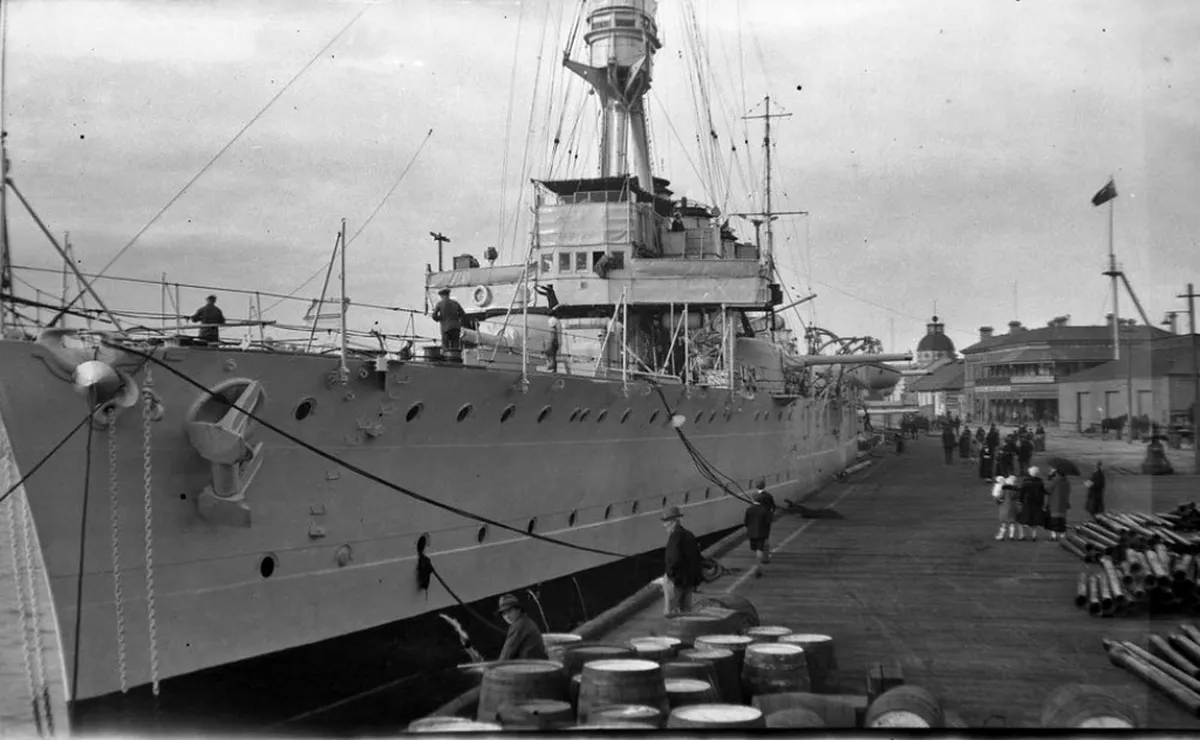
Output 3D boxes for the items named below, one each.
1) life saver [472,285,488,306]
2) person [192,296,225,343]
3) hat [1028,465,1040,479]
[{"bbox_3d":[-1.716,-1.064,21.549,0.210,0.168,0.267,-1,9,1],"label":"life saver"},{"bbox_3d":[-4.717,-0.641,18.106,0.390,0.605,1.366,-3,11,-15],"label":"person"},{"bbox_3d":[6.603,1.539,23.025,0.248,0.159,0.301,0,-2,12],"label":"hat"}]
